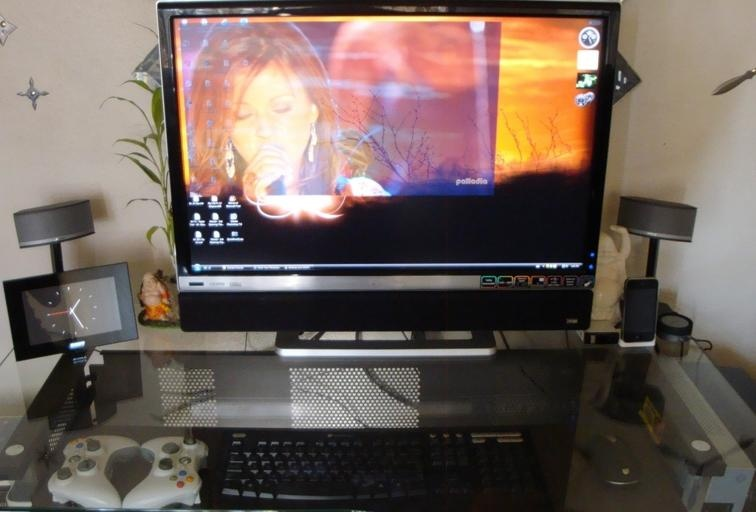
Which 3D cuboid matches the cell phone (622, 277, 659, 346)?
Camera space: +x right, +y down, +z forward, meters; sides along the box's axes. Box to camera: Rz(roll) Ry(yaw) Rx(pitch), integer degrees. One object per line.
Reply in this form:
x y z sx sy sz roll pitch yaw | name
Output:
0.727 0.159 1.717 0.099 0.199 0.021 -2 14 -1 | cell phone

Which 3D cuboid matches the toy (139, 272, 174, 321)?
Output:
-0.664 0.131 1.836 0.112 0.169 0.121 -4 -2 -34 | toy

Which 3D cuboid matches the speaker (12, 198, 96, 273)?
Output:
-0.969 -0.070 1.855 0.187 0.226 0.085 -11 31 -23 | speaker

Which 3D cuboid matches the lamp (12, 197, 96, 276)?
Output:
-0.969 -0.068 1.855 0.197 0.237 0.090 -12 31 -23 | lamp
